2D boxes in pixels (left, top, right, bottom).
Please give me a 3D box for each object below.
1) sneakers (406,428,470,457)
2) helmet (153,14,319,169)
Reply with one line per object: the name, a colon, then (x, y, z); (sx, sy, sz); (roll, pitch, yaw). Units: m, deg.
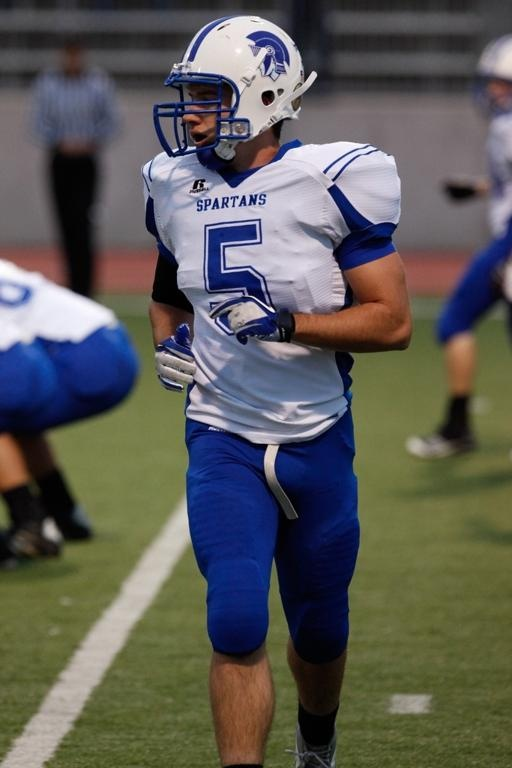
sneakers: (0.938, 0.313, 4.668); (0.379, 0.132, 0.126); (2, -4, -16)
helmet: (-0.067, -0.573, 1.796); (0.398, 0.270, 0.268); (-1, 3, -13)
